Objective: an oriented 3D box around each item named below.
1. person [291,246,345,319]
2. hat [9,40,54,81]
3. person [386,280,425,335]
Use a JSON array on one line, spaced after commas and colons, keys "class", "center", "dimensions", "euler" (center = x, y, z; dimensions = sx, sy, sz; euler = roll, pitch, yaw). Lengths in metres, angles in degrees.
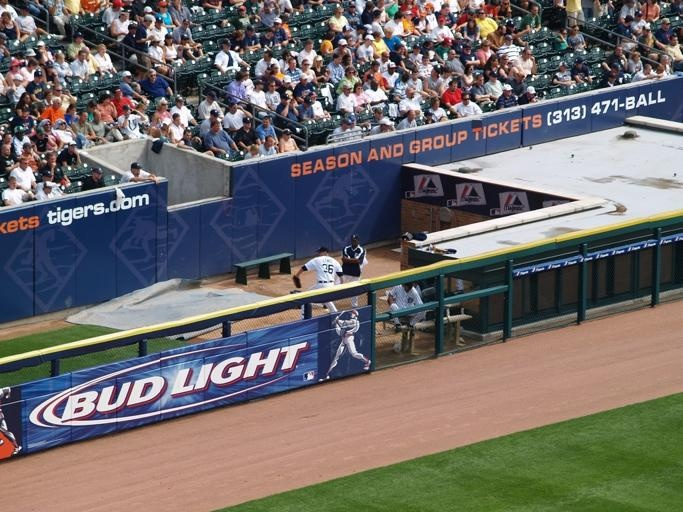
[{"class": "person", "center": [-0.496, 0.462, 40.306], "dimensions": [1.001, 1.267, 0.861], "euler": [6, 15, 4]}, {"class": "hat", "center": [-6.862, -4.333, 43.646], "dimensions": [0.620, 0.831, 1.065], "euler": [16, 24, 40]}, {"class": "person", "center": [1.240, 0.939, 38.039], "dimensions": [0.722, 0.895, 0.578], "euler": [-5, 10, 2]}]
